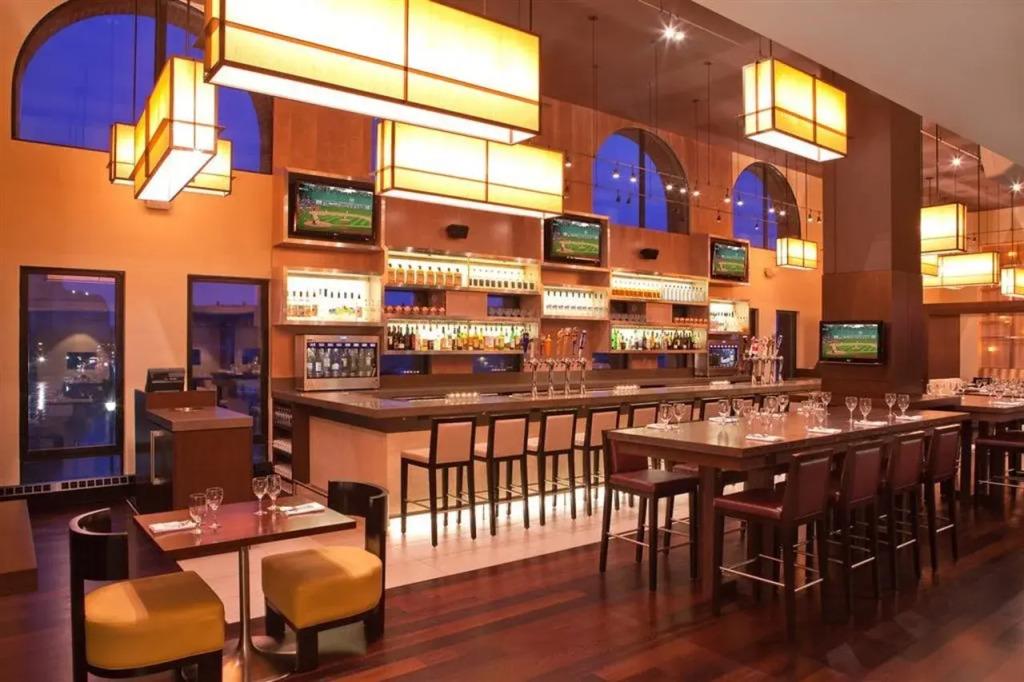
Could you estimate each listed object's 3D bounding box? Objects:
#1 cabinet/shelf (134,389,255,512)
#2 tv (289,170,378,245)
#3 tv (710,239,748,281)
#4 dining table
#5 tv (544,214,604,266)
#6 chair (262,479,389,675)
[{"bbox_3d":[-3.476,1.304,8.548,0.891,1.413,1.497,2,0,-37],"label":"cabinet/shelf"},{"bbox_3d":[-2.386,-1.752,10.231,1.039,0.728,0.137,1,-4,-28],"label":"tv"},{"bbox_3d":[4.017,-1.502,14.519,0.134,0.713,1.015,-6,11,-30],"label":"tv"},{"bbox_3d":[-2.080,2.138,5.998,1.630,1.221,1.245,1,1,-44],"label":"dining table"},{"bbox_3d":[1.018,-1.647,12.409,0.142,0.743,1.265,-14,18,-39],"label":"tv"},{"bbox_3d":[-1.535,1.871,6.713,1.214,1.575,1.264,3,-4,-33],"label":"chair"}]
